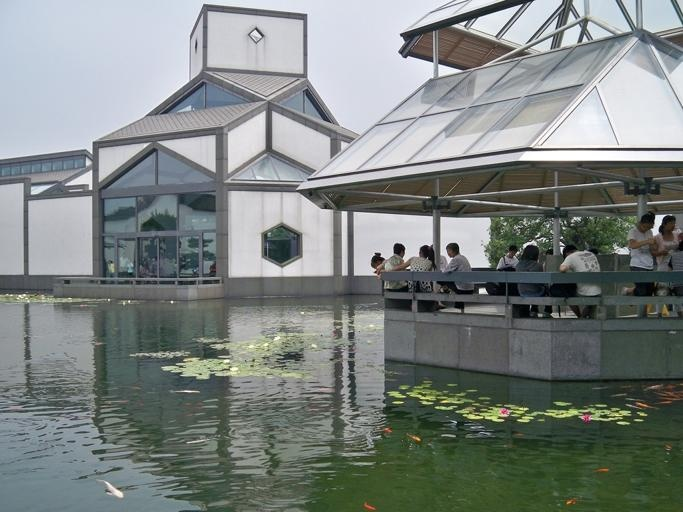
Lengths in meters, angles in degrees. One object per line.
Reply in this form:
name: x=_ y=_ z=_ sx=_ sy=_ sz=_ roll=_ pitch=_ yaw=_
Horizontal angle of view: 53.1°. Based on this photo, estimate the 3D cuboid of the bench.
bench: x=3.514 y=0.594 z=12.576 sx=5.097 sy=0.732 sz=2.084 roll=0 pitch=2 yaw=10
